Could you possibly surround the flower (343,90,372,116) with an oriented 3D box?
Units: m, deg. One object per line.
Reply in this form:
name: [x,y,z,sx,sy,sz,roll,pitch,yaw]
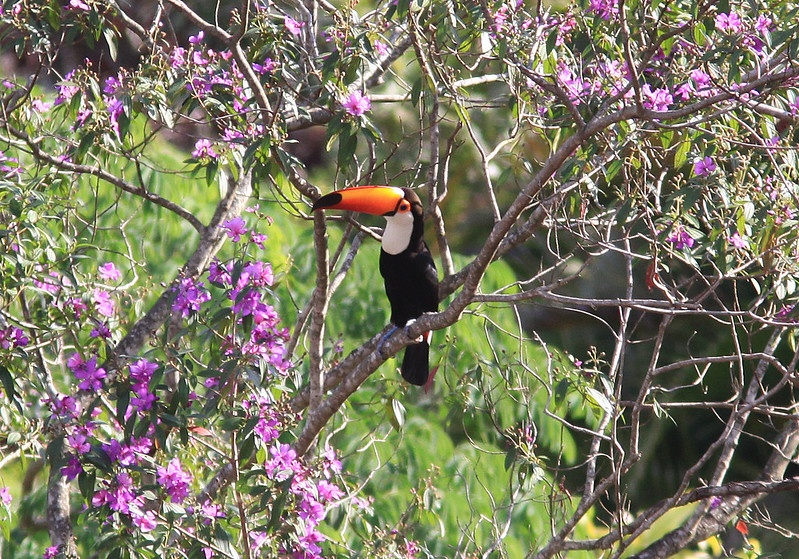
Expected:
flower: [-0.221,-0.886,6.418,0.141,0.125,0.161,19,3,-5]
